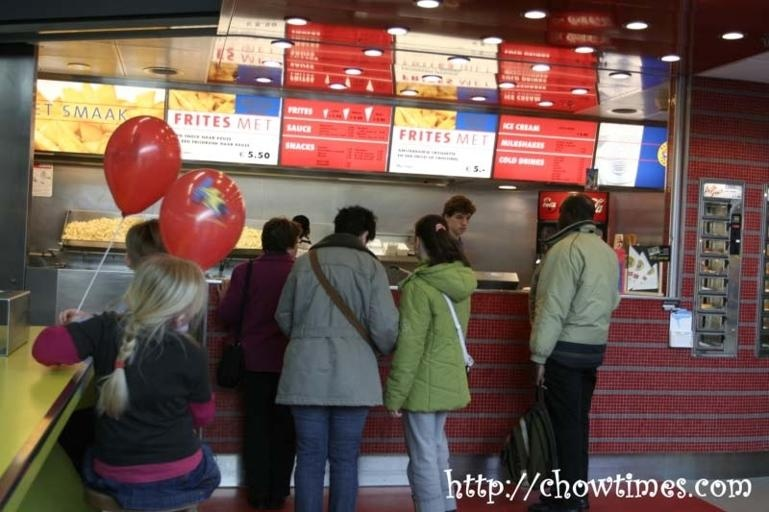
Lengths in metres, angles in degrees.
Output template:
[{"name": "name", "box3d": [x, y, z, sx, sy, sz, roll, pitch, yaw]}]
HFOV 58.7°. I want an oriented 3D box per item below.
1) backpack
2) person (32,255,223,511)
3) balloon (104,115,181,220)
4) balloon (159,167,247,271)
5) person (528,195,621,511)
[{"name": "backpack", "box3d": [0.987, 1.214, 4.592, 0.367, 0.667, 0.238, 3, 5, 3]}, {"name": "person", "box3d": [-1.178, 0.598, 3.257, 0.755, 1.186, 0.353, 0, 5, -19]}, {"name": "balloon", "box3d": [-1.554, -0.574, 4.385, 0.484, 0.707, 0.476, 11, 4, -21]}, {"name": "balloon", "box3d": [-1.138, -0.223, 4.346, 0.489, 0.701, 0.466, -1, -14, -9]}, {"name": "person", "box3d": [1.285, 0.550, 4.666, 0.596, 1.929, 0.390, 3, 5, 3]}]
